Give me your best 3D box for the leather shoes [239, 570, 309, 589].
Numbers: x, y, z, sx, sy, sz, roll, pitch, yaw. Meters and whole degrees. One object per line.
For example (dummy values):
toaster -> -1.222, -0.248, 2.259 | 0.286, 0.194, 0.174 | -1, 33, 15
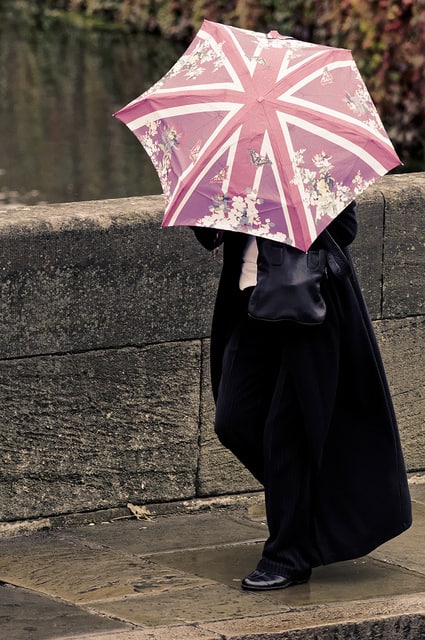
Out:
leather shoes -> 0.193, 0.807, 3.753 | 0.200, 0.073, 0.068 | 3, -3, -20

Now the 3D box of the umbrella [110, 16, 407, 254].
umbrella -> 0.121, -0.527, 3.394 | 0.626, 0.525, 0.669 | -5, 22, -17
